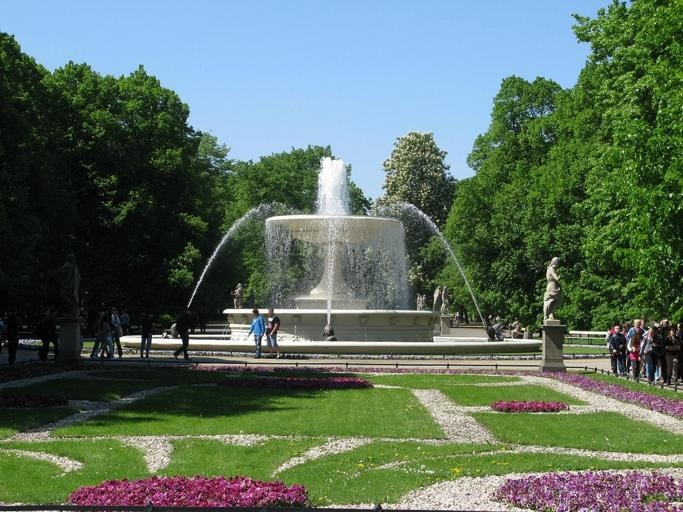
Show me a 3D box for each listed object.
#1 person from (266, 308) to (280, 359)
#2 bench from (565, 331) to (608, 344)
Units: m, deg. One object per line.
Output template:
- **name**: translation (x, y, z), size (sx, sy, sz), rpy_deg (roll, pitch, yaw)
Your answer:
- **person**: translation (-2.328, 2.586, 26.407), size (0.447, 1.687, 1.131), rpy_deg (1, -6, -5)
- **bench**: translation (12.127, 3.993, 38.425), size (1.858, 0.705, 5.098), rpy_deg (-2, -7, 16)
